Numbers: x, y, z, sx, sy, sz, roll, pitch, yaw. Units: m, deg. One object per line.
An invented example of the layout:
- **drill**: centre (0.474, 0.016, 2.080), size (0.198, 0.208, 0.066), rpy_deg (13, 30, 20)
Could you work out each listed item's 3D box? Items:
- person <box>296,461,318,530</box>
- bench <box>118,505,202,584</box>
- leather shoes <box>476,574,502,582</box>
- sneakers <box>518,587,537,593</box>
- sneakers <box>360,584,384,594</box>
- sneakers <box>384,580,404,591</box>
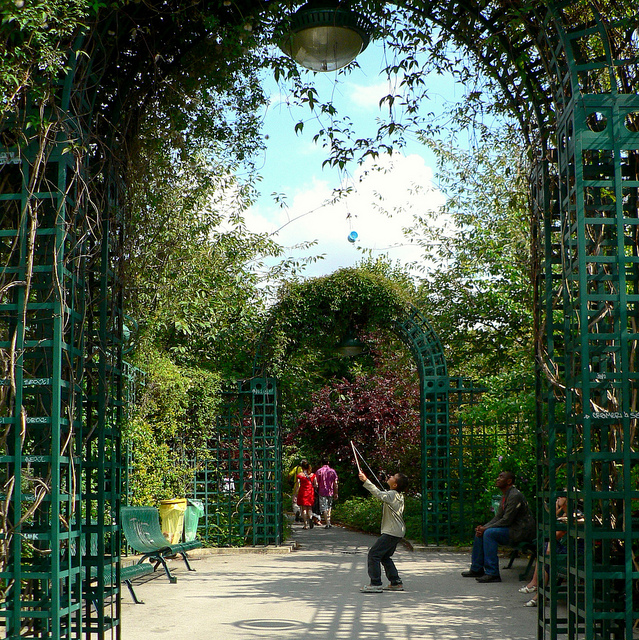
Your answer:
- **person**: centre (-0.270, 3.245, 18.080), size (0.384, 1.172, 1.107), rpy_deg (-3, -11, -2)
- **bench**: centre (-1.497, 2.125, 9.361), size (0.502, 0.749, 1.188), rpy_deg (-9, -11, 3)
- **leather shoes**: centre (1.636, 2.513, 9.499), size (0.220, 0.101, 0.084), rpy_deg (8, -3, -13)
- **sneakers**: centre (1.809, 2.379, 8.620), size (0.130, 0.060, 0.050), rpy_deg (3, -12, 23)
- **sneakers**: centre (0.474, 2.400, 8.778), size (0.181, 0.091, 0.082), rpy_deg (5, -3, 3)
- **sneakers**: centre (0.660, 2.422, 8.957), size (0.071, 0.083, 0.179), rpy_deg (2, -3, -27)
